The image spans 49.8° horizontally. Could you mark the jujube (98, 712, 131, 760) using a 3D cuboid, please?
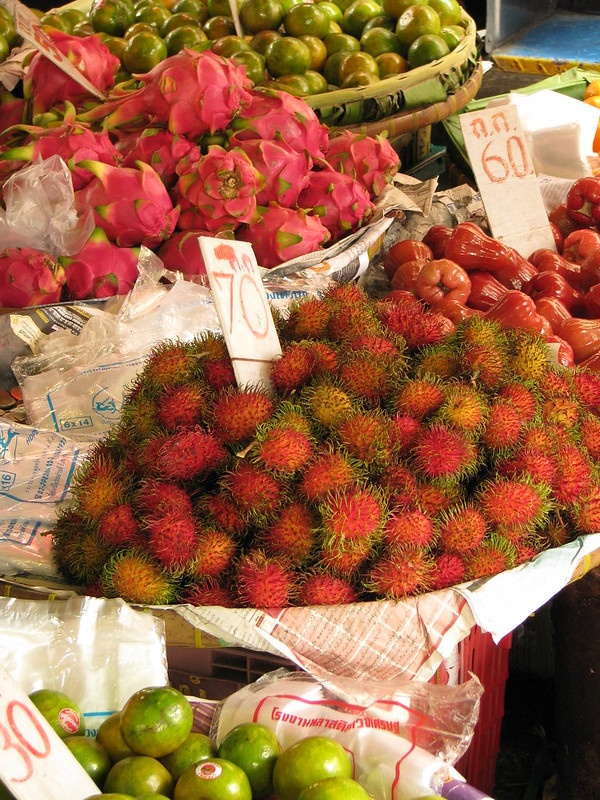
[{"bbox_3d":[-0.153,0.279,0.529,0.036,0.042,0.034,-1,62,-22],"label":"jujube"}]

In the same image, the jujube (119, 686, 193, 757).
[{"bbox_3d":[-0.115,0.245,0.497,0.054,0.056,0.048,1,28,-17],"label":"jujube"}]
